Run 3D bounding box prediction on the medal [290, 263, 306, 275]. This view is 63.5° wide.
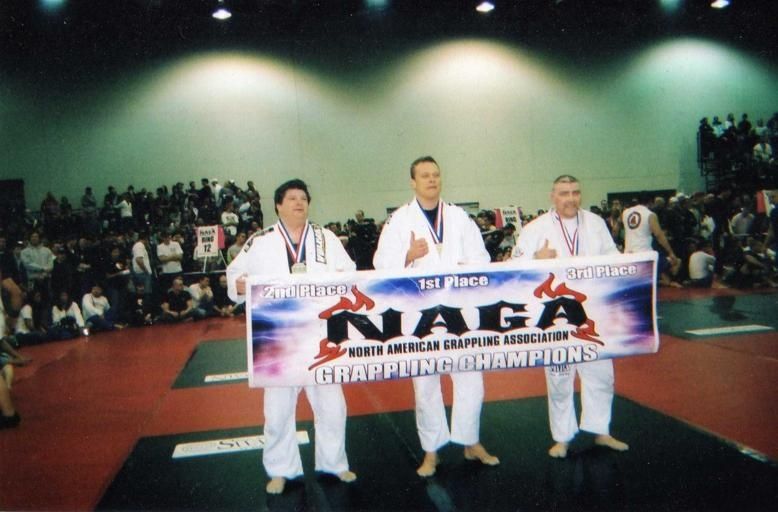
[{"bbox_3d":[-0.886,0.127,6.251,0.112,0.073,0.111,-3,21,-6],"label":"medal"}]
